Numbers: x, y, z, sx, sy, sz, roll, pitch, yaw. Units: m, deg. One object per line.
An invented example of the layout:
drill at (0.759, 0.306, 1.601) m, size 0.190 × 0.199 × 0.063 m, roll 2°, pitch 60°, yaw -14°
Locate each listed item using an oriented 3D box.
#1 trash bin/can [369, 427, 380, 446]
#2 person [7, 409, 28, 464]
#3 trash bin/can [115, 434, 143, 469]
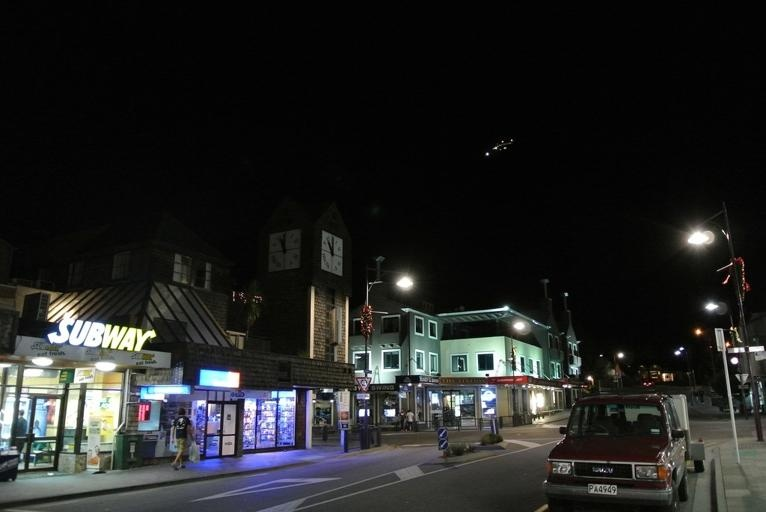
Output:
trash bin/can at (-0.491, 10.951, 33.407) m, size 0.862 × 1.227 × 0.883 m, roll -3°, pitch -7°, yaw 2°
person at (-15.248, 7.410, 23.101) m, size 0.318 × 1.674 × 0.971 m, roll 2°, pitch -7°, yaw -9°
trash bin/can at (-11.508, 8.785, 24.815) m, size 1.071 × 1.436 × 0.461 m, roll 5°, pitch -8°, yaw -25°
